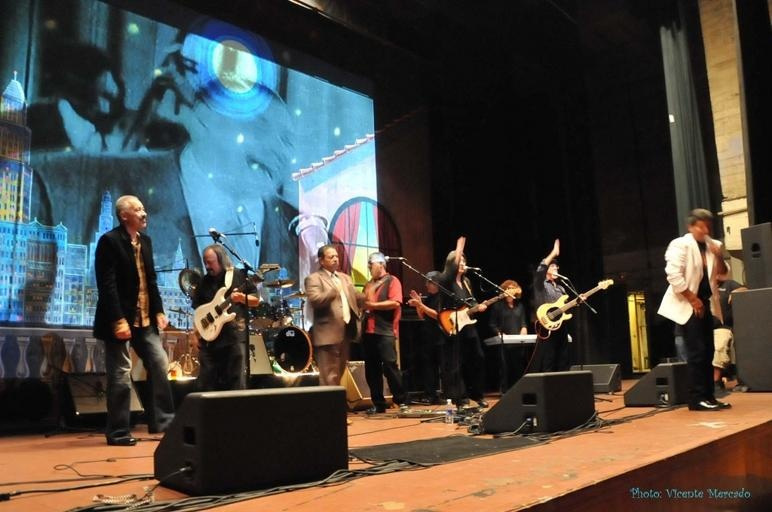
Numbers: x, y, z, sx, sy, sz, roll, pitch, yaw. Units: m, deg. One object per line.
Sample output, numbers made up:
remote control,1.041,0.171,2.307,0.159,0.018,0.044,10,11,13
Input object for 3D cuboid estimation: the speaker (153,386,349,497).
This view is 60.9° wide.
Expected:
speaker,-1.011,1.394,5.092,1.402,0.645,0.348,-2,-1,-15

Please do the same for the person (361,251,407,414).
person,-0.042,0.995,8.571,0.536,1.824,0.609,-2,-1,3

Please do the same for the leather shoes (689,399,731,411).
leather shoes,3.471,1.614,7.083,0.251,0.082,0.188,-12,-13,28

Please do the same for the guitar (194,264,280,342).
guitar,-1.770,0.583,7.733,1.142,0.454,0.161,-46,-22,5

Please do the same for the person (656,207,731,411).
person,3.406,0.591,7.286,0.662,2.331,0.571,-2,-1,27

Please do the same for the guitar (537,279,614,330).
guitar,2.877,0.775,9.981,0.697,0.732,1.262,-2,-1,43

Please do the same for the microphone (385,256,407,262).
microphone,0.121,0.051,8.031,0.210,0.063,0.122,2,2,-13

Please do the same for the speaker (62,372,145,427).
speaker,-3.482,1.764,8.034,0.789,0.749,0.536,7,-31,-42

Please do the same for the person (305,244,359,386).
person,-0.648,0.702,8.125,0.460,1.443,0.614,-2,-1,43

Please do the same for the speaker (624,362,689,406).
speaker,3.315,1.634,8.220,0.578,0.509,0.795,-4,-15,27

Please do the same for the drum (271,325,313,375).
drum,-1.311,1.264,9.232,0.716,0.701,0.444,-5,-9,-14

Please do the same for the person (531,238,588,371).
person,2.488,0.735,10.045,0.836,2.077,0.232,32,-27,-27

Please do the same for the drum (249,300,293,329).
drum,-1.606,0.824,9.245,0.460,0.179,0.350,11,-38,-36

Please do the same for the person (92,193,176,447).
person,-2.638,0.641,6.822,0.478,1.896,0.681,-2,-1,31

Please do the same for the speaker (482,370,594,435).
speaker,1.463,1.595,6.444,0.661,0.458,0.958,-9,-14,42
